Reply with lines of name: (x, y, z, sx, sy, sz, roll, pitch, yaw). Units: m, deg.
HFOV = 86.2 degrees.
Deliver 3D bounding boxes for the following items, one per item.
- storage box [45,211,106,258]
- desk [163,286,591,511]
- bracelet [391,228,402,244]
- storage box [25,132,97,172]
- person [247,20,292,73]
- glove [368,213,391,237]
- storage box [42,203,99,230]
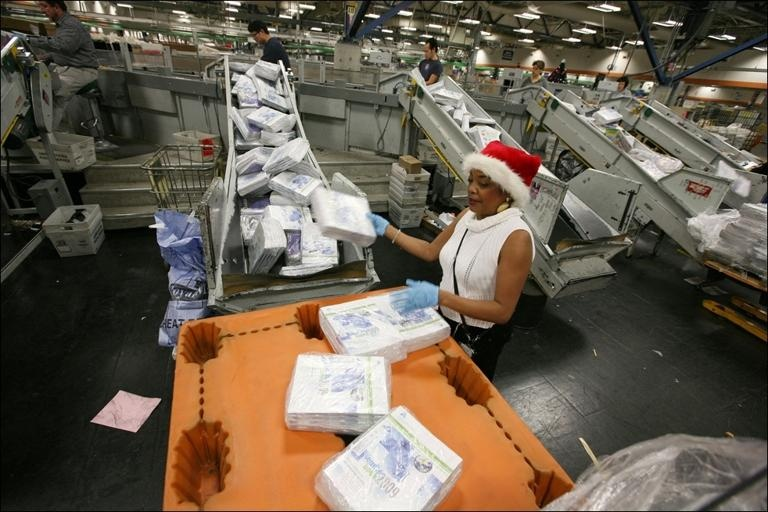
storage box: (-3.480, -0.288, 4.635, 0.439, 0.446, 0.462, -3, 32, -15)
desk: (-0.220, 0.986, 2.559, 2.099, 0.735, 1.294, -1, 31, -12)
bracelet: (0.098, -0.155, 3.178, 0.025, 0.103, 0.094, 23, 67, -4)
storage box: (-3.828, -1.238, 4.917, 0.558, 0.303, 0.346, 11, 34, 8)
person: (-1.721, -3.075, 6.088, 0.569, 0.620, 0.748, 2, 30, -6)
glove: (-0.070, -0.237, 3.190, 0.181, 0.173, 0.155, 15, 20, 42)
storage box: (-3.459, -0.411, 4.573, 0.390, 0.229, 0.371, -5, 36, -11)
